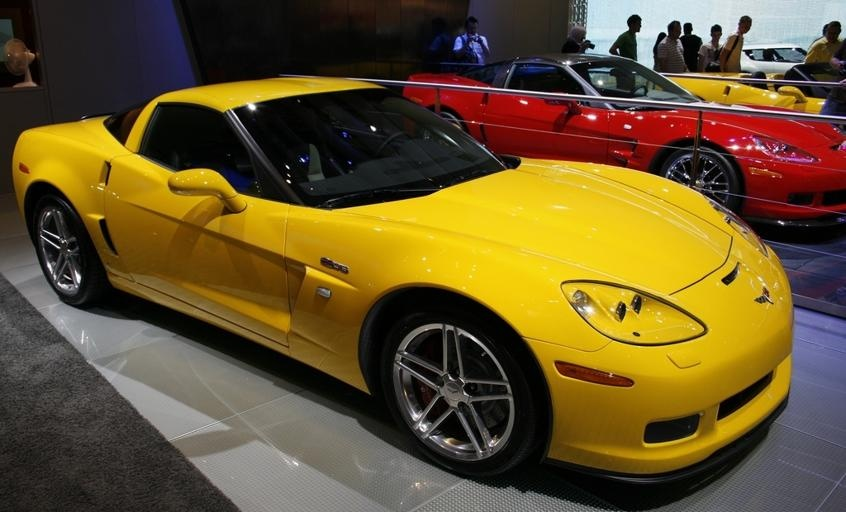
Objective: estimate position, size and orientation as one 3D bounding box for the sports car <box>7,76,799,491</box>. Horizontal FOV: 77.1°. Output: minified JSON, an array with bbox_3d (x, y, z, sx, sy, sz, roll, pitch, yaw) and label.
[{"bbox_3d":[-0.414,0.221,3.825,4.866,1.439,2.437,16,30,29],"label":"sports car"}]

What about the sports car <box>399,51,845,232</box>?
[{"bbox_3d":[2.360,-1.457,6.373,4.342,1.220,2.251,10,22,24],"label":"sports car"}]

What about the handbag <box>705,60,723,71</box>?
[{"bbox_3d":[5.491,-3.584,10.075,0.204,0.076,0.200,-1,58,32],"label":"handbag"}]
